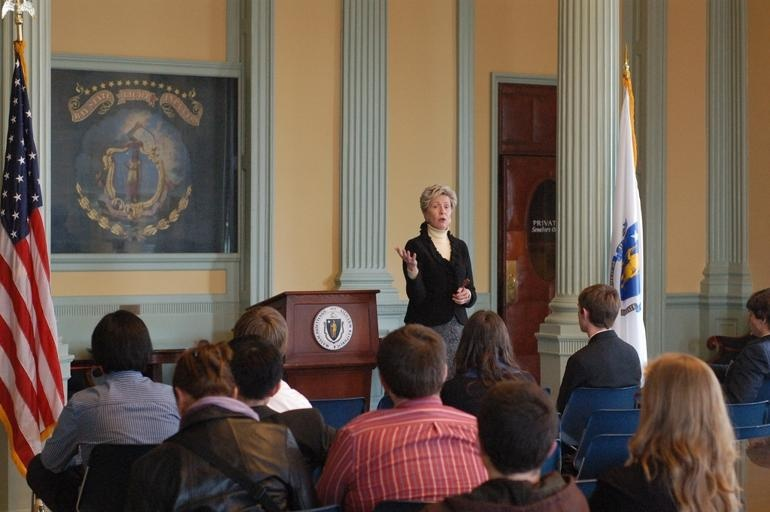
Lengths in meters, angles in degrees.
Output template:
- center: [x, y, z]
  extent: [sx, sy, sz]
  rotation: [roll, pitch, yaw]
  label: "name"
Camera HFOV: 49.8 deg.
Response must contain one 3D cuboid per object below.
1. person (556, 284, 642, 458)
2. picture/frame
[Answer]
- center: [1.361, 0.883, 5.275]
  extent: [0.484, 1.421, 0.476]
  rotation: [-6, 12, -8]
  label: "person"
- center: [-2.354, -0.890, 7.855]
  extent: [1.832, 2.152, 0.093]
  rotation: [-1, 2, -13]
  label: "picture/frame"
